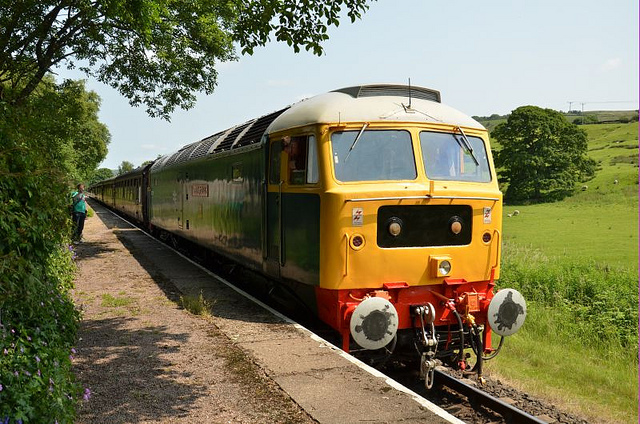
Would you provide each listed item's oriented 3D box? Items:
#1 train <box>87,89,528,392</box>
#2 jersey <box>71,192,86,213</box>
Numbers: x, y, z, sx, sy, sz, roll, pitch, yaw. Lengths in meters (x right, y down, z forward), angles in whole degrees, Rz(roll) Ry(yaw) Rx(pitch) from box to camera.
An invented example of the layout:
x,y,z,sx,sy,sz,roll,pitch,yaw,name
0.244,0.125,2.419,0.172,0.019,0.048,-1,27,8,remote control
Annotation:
x,y,z,sx,sy,sz,roll,pitch,yaw,name
-2.498,-0.473,15.598,4.069,5.475,19.975,0,4,-26,train
-8.901,-0.320,16.689,0.336,0.788,0.962,-1,6,-29,jersey
